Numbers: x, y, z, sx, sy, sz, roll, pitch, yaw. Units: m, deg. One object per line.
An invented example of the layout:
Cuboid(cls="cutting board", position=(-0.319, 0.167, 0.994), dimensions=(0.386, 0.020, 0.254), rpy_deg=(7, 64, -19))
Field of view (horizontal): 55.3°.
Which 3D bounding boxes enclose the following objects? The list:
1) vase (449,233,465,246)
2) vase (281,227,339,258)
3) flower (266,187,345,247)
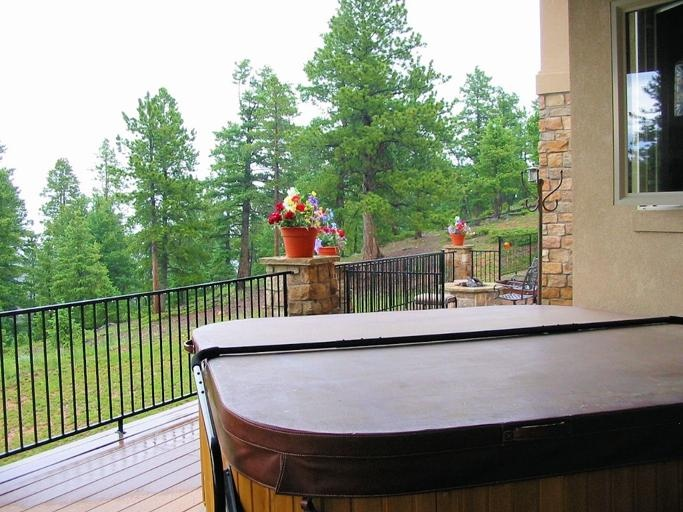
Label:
Cuboid(cls="vase", position=(2.532, -0.356, 14.254), dimensions=(0.250, 0.216, 0.273), rpy_deg=(0, -1, 1))
Cuboid(cls="vase", position=(-0.421, -0.139, 6.477), dimensions=(0.352, 0.301, 0.355), rpy_deg=(-2, 10, -6))
Cuboid(cls="flower", position=(-0.385, -0.441, 6.989), dimensions=(0.665, 0.719, 0.931), rpy_deg=(1, 2, -7))
